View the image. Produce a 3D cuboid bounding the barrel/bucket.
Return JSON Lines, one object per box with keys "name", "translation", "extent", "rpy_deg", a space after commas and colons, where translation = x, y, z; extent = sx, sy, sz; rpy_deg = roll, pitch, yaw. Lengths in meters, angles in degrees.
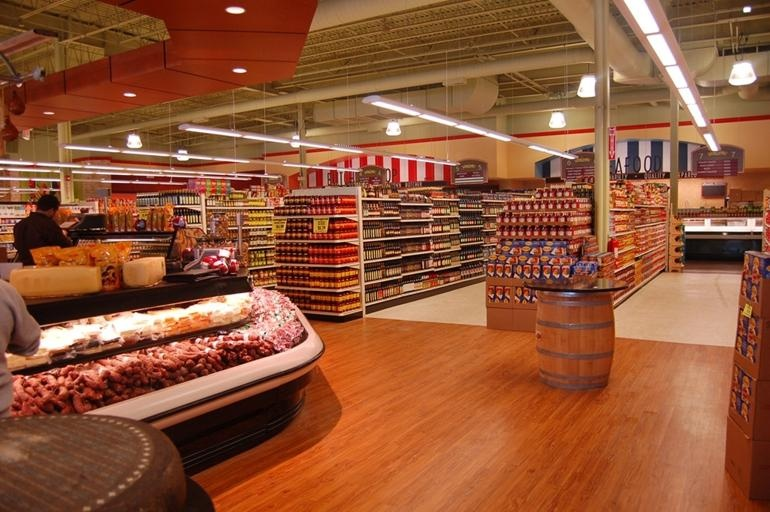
{"name": "barrel/bucket", "translation": [2.041, 0.796, 5.312], "extent": [0.833, 0.992, 0.741], "rpy_deg": [1, 5, 23]}
